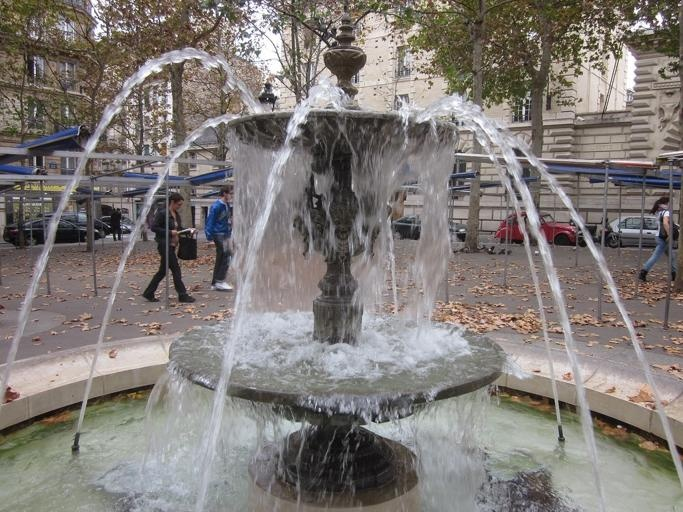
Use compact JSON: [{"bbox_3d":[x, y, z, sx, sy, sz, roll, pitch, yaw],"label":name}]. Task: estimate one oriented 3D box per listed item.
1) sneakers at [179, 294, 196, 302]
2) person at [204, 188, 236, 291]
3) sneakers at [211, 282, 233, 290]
[{"bbox_3d":[-3.134,0.862,10.909,0.263,0.129,0.154,-4,-2,8],"label":"sneakers"},{"bbox_3d":[-2.816,-0.400,12.307,0.573,2.462,1.349,-1,11,-12],"label":"person"},{"bbox_3d":[-2.770,0.691,12.470,0.503,0.239,0.212,-2,-1,4],"label":"sneakers"}]
